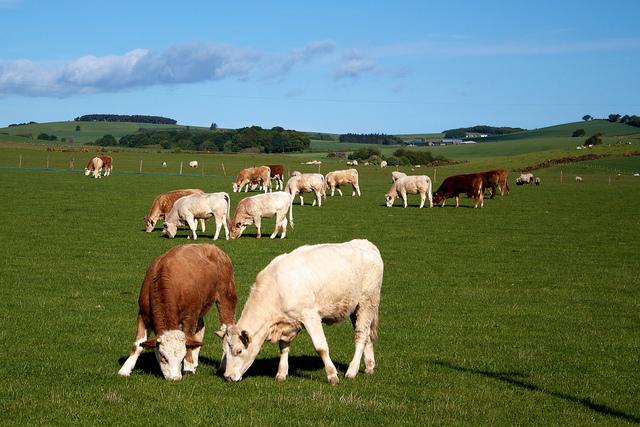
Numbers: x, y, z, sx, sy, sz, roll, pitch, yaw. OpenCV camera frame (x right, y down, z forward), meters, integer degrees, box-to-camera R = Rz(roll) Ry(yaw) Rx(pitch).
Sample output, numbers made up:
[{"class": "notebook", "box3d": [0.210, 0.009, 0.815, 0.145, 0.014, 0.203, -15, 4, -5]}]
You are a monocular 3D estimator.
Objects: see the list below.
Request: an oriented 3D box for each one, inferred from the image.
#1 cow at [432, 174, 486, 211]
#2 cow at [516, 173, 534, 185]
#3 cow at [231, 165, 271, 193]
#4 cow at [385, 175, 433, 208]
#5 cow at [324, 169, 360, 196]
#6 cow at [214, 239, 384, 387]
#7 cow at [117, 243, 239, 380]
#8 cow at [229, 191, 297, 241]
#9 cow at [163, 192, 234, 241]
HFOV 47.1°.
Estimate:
[{"class": "cow", "box3d": [10.187, -1.640, 54.378, 4.073, 2.389, 1.191, -3, -4, 26]}, {"class": "cow", "box3d": [21.424, -3.721, 76.595, 1.346, 1.057, 2.518, 5, 10, 24]}, {"class": "cow", "box3d": [-6.214, -3.266, 67.486, 3.178, 2.442, 6.229, 0, 9, -5]}, {"class": "cow", "box3d": [6.560, -1.605, 54.750, 3.576, 2.415, 1.098, -4, 2, 16]}, {"class": "cow", "box3d": [1.940, -2.882, 64.386, 2.906, 2.405, 3.815, 1, 9, -2]}, {"class": "cow", "box3d": [0.374, 2.807, 24.471, 7.491, 5.739, 2.716, -4, 0, -26]}, {"class": "cow", "box3d": [-5.746, 3.316, 25.177, 3.557, 4.147, 5.848, 1, -13, 0]}, {"class": "cow", "box3d": [-3.179, 0.033, 39.746, 3.211, 2.542, 1.175, 0, 9, -10]}, {"class": "cow", "box3d": [-6.253, -0.442, 38.182, 4.660, 2.978, 2.569, 3, -4, -9]}]
